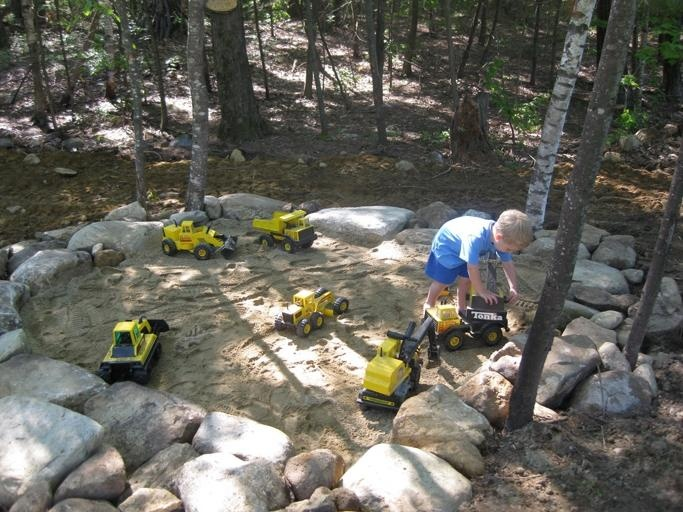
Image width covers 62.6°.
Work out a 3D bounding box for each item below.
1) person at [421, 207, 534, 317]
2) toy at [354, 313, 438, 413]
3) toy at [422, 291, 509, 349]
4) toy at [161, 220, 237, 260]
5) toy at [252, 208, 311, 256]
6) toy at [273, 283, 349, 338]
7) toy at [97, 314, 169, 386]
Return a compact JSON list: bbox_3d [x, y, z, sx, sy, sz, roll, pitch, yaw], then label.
[{"bbox_3d":[1.764,0.078,7.476,0.668,1.616,1.448,-18,30,-36],"label":"person"},{"bbox_3d":[0.630,1.205,7.129,0.649,0.803,1.488,14,36,37],"label":"toy"},{"bbox_3d":[1.748,0.880,7.919,1.055,0.613,0.592,-8,13,-4],"label":"toy"},{"bbox_3d":[-2.615,-0.288,10.249,1.332,0.519,0.643,4,40,6],"label":"toy"},{"bbox_3d":[-1.085,-0.487,10.439,1.159,0.668,0.667,11,24,27],"label":"toy"},{"bbox_3d":[-0.465,0.742,8.343,0.672,0.470,1.076,14,27,28],"label":"toy"},{"bbox_3d":[-2.725,1.204,7.521,0.599,0.538,1.014,2,27,4],"label":"toy"}]
